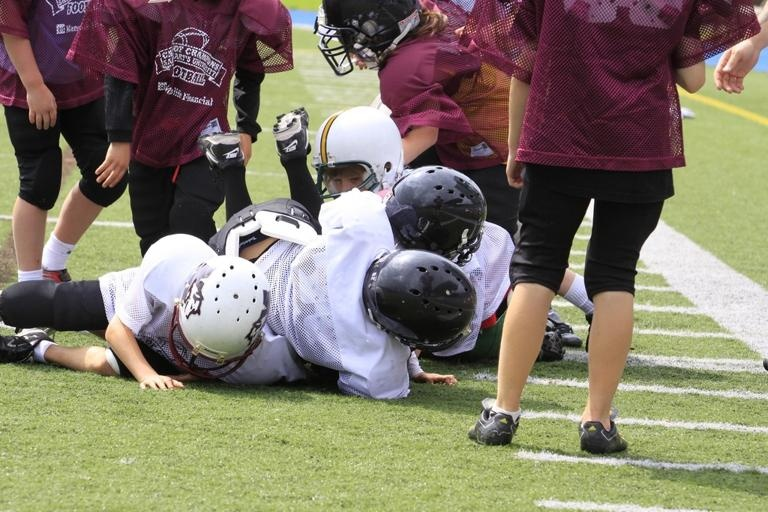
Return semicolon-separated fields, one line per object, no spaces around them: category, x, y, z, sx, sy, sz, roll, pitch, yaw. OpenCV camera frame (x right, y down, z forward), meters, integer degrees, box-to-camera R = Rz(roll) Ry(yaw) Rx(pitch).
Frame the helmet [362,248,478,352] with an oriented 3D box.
helmet;0.151;0.192;3.702;0.497;0.377;0.381;16;-9;-25

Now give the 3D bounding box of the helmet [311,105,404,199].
helmet;-0.132;-0.560;4.352;0.524;0.454;0.387;-10;15;-40

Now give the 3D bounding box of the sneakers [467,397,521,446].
sneakers;0.470;0.715;3.482;0.117;0.118;0.249;4;4;-2

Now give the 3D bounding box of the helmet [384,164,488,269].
helmet;0.260;-0.212;4.002;0.561;0.422;0.401;4;28;-23

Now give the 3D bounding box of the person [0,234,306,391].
person;-1.152;0.276;3.852;1.184;0.385;0.736;3;-2;27

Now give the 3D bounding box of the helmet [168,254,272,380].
helmet;-0.713;0.273;3.726;0.428;0.527;0.414;37;-11;-10

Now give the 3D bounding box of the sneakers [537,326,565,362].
sneakers;0.931;0.500;4.505;0.122;0.245;0.141;11;0;34
